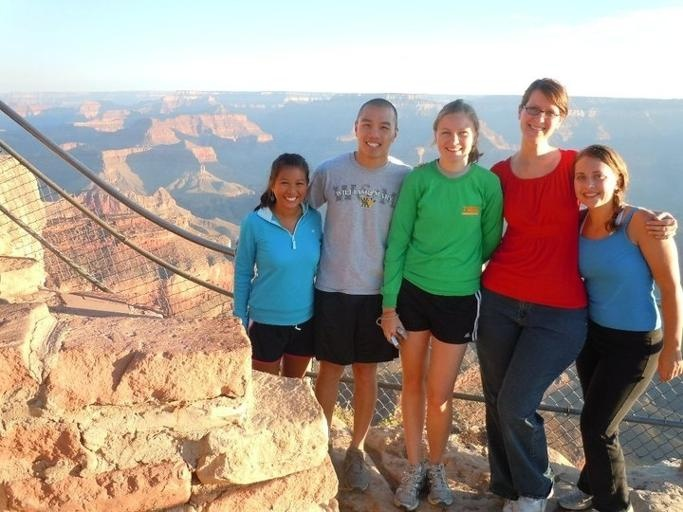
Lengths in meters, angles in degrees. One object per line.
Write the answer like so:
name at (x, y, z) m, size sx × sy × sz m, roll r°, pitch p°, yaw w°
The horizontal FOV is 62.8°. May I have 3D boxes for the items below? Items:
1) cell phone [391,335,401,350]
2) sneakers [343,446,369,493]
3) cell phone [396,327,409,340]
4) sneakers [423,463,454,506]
cell phone at (0.313, 0.504, 3.240) m, size 0.041 × 0.082 × 0.018 m, roll -11°, pitch 2°, yaw -42°
sneakers at (0.077, 1.234, 3.197) m, size 0.087 × 0.099 × 0.243 m, roll 2°, pitch 3°, yaw -3°
cell phone at (0.343, 0.445, 3.224) m, size 0.062 × 0.057 × 0.100 m, roll 4°, pitch 13°, yaw -21°
sneakers at (0.547, 1.290, 3.106) m, size 0.092 × 0.106 × 0.238 m, roll -1°, pitch -2°, yaw 0°
